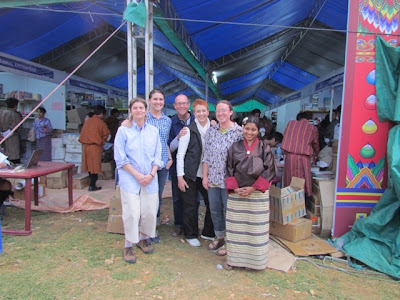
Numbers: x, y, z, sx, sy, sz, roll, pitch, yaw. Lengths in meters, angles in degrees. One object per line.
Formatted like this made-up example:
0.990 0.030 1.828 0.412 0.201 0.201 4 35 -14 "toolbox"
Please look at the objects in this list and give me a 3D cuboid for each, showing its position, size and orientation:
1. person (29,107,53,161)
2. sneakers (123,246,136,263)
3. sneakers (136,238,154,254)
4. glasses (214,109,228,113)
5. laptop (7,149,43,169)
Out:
-4.472 -0.346 8.482 0.552 1.612 0.477 1 5 10 "person"
-0.959 1.437 4.116 0.166 0.210 0.125 2 -2 -11 "sneakers"
-0.814 1.405 4.454 0.225 0.190 0.307 2 -3 -10 "sneakers"
0.307 -0.538 4.187 0.137 0.057 0.040 1 -2 15 "glasses"
-3.073 0.176 5.312 0.357 0.256 0.410 0 2 0 "laptop"
